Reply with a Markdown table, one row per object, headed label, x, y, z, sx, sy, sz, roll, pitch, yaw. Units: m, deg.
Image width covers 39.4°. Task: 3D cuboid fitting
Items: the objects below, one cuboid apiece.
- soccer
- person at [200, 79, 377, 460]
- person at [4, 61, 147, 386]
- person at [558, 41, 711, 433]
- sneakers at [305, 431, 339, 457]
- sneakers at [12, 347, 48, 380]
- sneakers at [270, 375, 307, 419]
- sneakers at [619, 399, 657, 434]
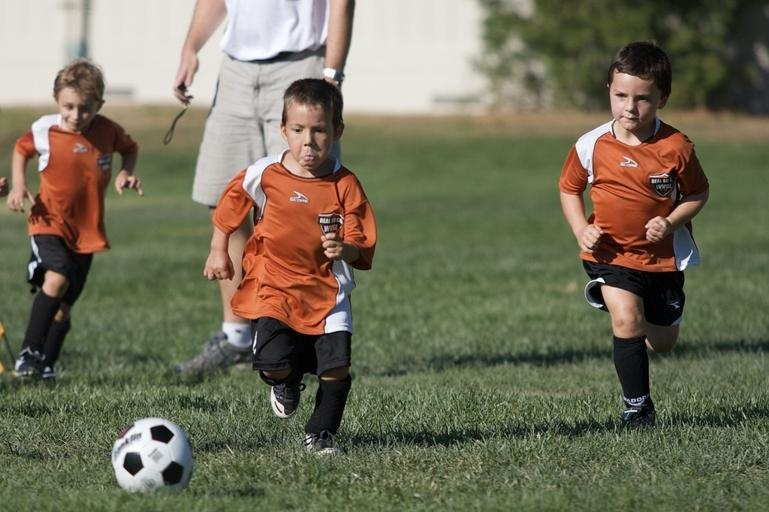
| label | x | y | z | sx | sy | sz | roll | pitch | yaw |
| --- | --- | --- | --- | --- | --- | --- | --- | --- | --- |
| soccer | -1.448 | 1.255 | 6.639 | 0.390 | 0.436 | 0.380 | -16 | -11 | -25 |
| person | -0.582 | 0.035 | 6.919 | 0.946 | 2.302 | 0.657 | 6 | 12 | 32 |
| person | -2.261 | -0.237 | 7.732 | 0.957 | 2.305 | 0.558 | -3 | 10 | -14 |
| person | 1.652 | -0.179 | 7.245 | 0.968 | 2.484 | 0.685 | 2 | 10 | 14 |
| sneakers | -0.400 | 1.193 | 6.779 | 0.100 | 0.108 | 0.263 | 3 | -2 | -29 |
| sneakers | -2.583 | 0.780 | 7.840 | 0.132 | 0.143 | 0.305 | 12 | -7 | -26 |
| sneakers | -0.643 | 0.952 | 7.145 | 0.151 | 0.361 | 0.146 | 14 | -24 | -43 |
| sneakers | 1.674 | 1.049 | 7.131 | 0.237 | 0.238 | 0.143 | 12 | -20 | -33 |
